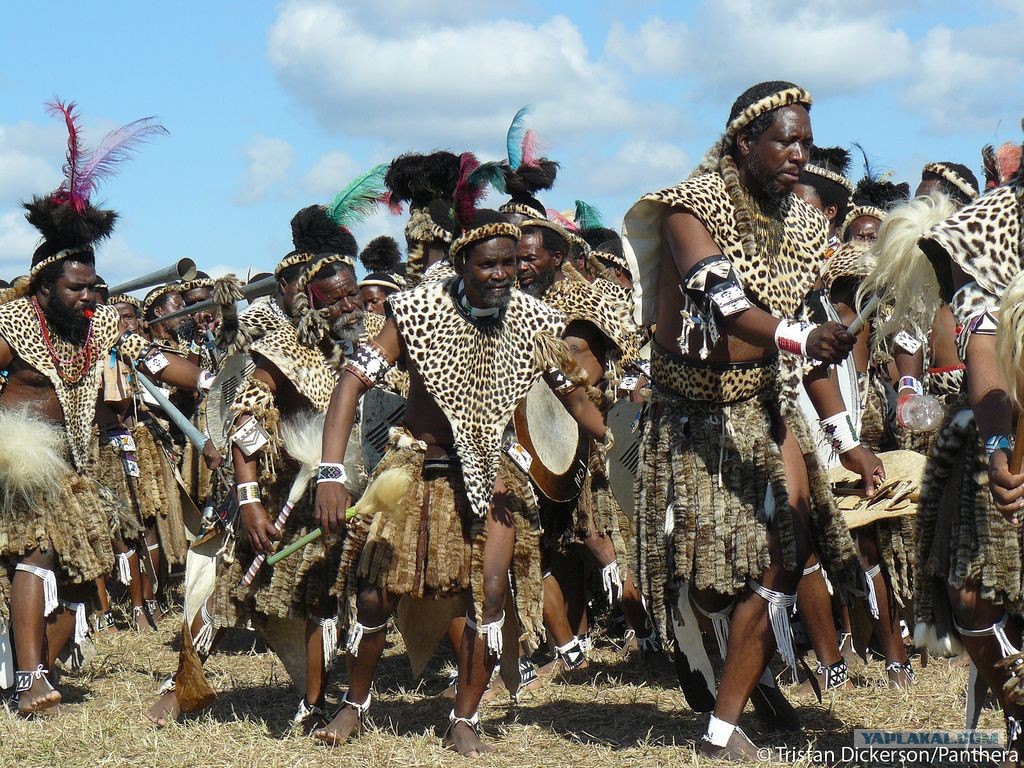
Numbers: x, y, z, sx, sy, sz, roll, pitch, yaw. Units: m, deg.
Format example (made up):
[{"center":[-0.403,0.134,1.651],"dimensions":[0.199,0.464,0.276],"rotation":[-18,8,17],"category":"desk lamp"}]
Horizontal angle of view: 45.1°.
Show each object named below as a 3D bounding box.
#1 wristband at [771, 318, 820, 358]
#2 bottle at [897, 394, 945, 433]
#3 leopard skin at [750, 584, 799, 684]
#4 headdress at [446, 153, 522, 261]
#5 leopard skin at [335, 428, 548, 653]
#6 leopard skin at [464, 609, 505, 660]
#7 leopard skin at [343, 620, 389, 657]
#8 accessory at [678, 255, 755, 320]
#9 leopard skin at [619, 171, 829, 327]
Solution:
[{"center":[1.110,-0.189,4.926],"dimensions":[0.124,0.116,0.156],"rotation":[-6,-3,6],"category":"wristband"},{"center":[2.048,0.138,6.165],"dimensions":[0.153,0.154,0.147],"rotation":[-48,4,3],"category":"bottle"},{"center":[1.179,1.066,5.459],"dimensions":[0.169,0.448,0.358],"rotation":[-2,2,20],"category":"leopard skin"},{"center":[-0.147,-0.851,5.871],"dimensions":[0.319,0.566,0.629],"rotation":[-2,2,-2],"category":"headdress"},{"center":[-0.315,0.697,5.602],"dimensions":[0.919,0.986,0.474],"rotation":[10,-2,-12],"category":"leopard skin"},{"center":[-0.113,1.137,5.607],"dimensions":[0.148,0.195,0.066],"rotation":[5,-5,-10],"category":"leopard skin"},{"center":[-0.699,1.159,5.683],"dimensions":[0.174,0.139,0.156],"rotation":[30,-11,-33],"category":"leopard skin"},{"center":[0.857,-0.403,5.161],"dimensions":[0.210,0.285,0.155],"rotation":[-40,-13,26],"category":"accessory"},{"center":[0.928,-0.566,5.353],"dimensions":[0.909,0.598,0.535],"rotation":[3,-5,-31],"category":"leopard skin"}]
